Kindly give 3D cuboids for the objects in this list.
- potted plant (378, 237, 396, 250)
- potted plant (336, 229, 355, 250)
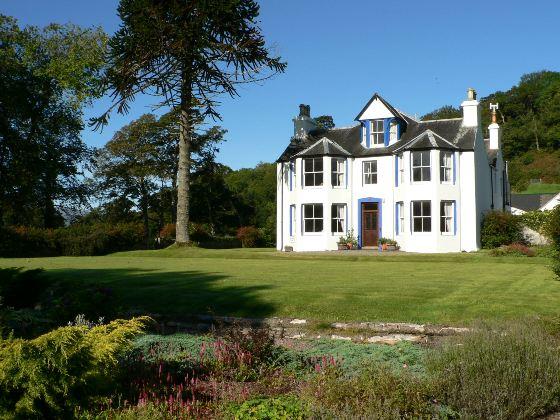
[{"bbox_3d":[6.463,2.001,33.969,0.717,0.767,1.279,1,-5,-28],"label":"potted plant"},{"bbox_3d":[4.247,1.818,35.113,1.039,1.624,1.143,-3,-4,39],"label":"potted plant"}]
